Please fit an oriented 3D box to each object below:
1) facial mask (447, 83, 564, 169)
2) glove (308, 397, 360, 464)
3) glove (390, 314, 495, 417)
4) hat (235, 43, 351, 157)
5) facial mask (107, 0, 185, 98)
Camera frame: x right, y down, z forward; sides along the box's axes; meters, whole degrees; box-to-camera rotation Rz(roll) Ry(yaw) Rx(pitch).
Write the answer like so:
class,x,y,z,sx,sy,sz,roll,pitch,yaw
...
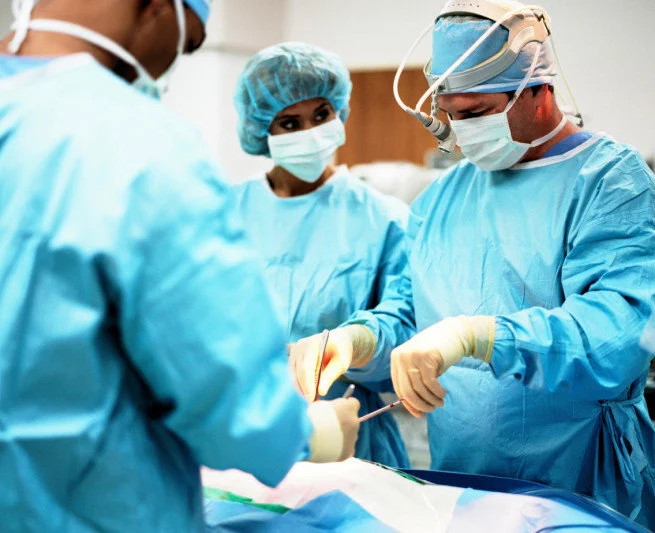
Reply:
class,x,y,z,sx,sy,sz,roll,pitch,yaw
facial mask,0.454,-0.387,2.153,0.229,0.145,0.204,-35,24,-9
glove,0.006,0.324,1.588,0.081,0.119,0.116,7,52,3
glove,0.263,0.204,1.974,0.208,0.101,0.223,-36,0,28
hat,-0.127,-0.505,2.459,0.248,0.248,0.307,-18,-4,-9
facial mask,-0.332,-0.389,1.536,0.039,0.174,0.121,9,6,-3
